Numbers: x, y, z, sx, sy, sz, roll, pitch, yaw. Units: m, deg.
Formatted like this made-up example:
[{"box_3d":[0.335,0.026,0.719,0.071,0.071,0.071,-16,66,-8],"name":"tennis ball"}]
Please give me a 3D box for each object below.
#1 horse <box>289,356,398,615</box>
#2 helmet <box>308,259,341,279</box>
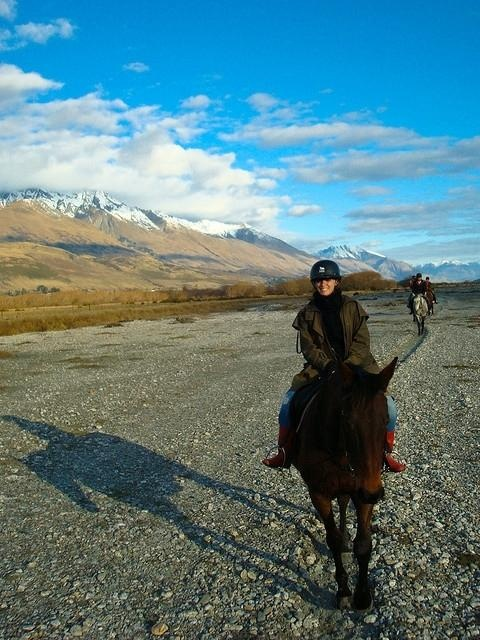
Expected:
[{"box_3d":[0.925,1.536,4.206,0.582,2.546,1.207,-4,4,-13],"name":"horse"},{"box_3d":[0.982,-0.580,5.400,0.244,0.223,0.301,3,16,14],"name":"helmet"}]
